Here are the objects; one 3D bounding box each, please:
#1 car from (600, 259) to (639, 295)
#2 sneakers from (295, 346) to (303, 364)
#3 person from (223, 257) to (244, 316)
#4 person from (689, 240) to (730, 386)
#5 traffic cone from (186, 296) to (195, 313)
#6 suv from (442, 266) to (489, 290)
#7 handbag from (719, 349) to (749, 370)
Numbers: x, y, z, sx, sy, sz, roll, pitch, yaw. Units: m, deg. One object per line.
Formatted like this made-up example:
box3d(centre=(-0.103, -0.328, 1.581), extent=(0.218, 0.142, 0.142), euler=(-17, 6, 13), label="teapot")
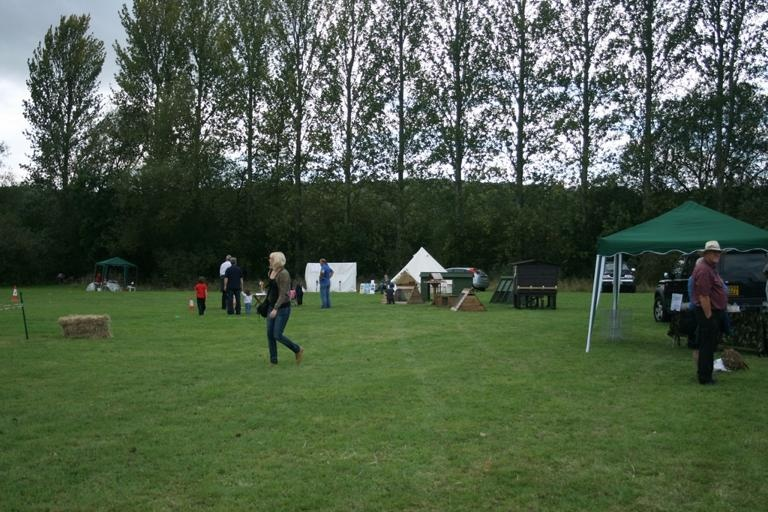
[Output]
box3d(centre=(12.082, 1.190, 35.594), extent=(1.492, 1.438, 3.343), euler=(-1, -9, 11), label="car")
box3d(centre=(-2.139, 2.491, 17.378), extent=(0.193, 0.456, 0.134), euler=(4, -6, -28), label="sneakers")
box3d(centre=(-5.681, 1.251, 25.997), extent=(0.581, 1.913, 1.087), euler=(-3, 10, -15), label="person")
box3d(centre=(7.378, 1.313, 15.868), extent=(0.691, 3.093, 0.800), euler=(7, 12, 36), label="person")
box3d(centre=(-8.484, 2.130, 30.207), extent=(0.289, 0.252, 0.728), euler=(17, -14, -20), label="traffic cone")
box3d(centre=(5.556, 1.536, 43.956), extent=(1.419, 1.087, 3.008), euler=(-1, 3, -44), label="suv")
box3d(centre=(8.459, 2.615, 16.832), extent=(0.448, 0.279, 0.557), euler=(-34, 55, -29), label="handbag")
